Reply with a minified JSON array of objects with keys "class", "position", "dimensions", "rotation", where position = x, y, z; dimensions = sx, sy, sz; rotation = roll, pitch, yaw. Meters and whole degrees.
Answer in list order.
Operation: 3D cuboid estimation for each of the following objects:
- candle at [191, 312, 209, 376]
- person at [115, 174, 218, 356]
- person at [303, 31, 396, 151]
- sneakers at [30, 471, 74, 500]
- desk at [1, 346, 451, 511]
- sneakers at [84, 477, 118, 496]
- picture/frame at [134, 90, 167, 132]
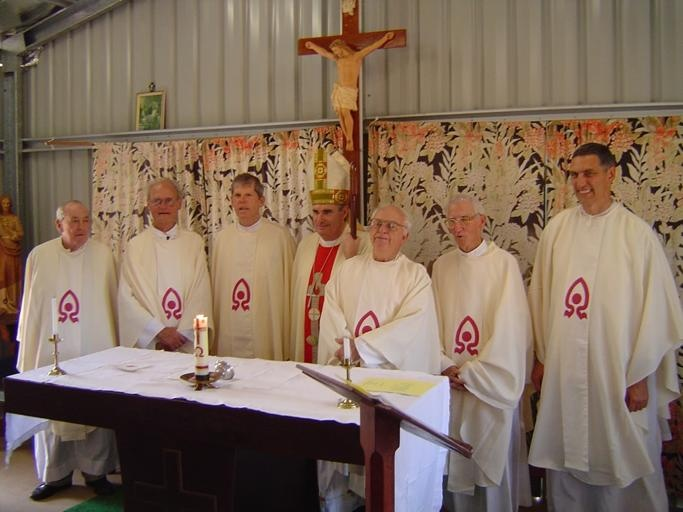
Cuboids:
[{"class":"candle","position":[-0.764,0.493,3.770],"dimensions":[0.071,0.353,0.196],"rotation":[-1,3,-15]},{"class":"person","position":[-1.336,0.062,5.225],"dimensions":[0.684,1.285,0.568],"rotation":[-1,3,-20]},{"class":"person","position":[0.054,-1.247,5.301],"dimensions":[0.662,0.881,0.248],"rotation":[0,3,-4]},{"class":"sneakers","position":[-2.182,1.741,5.218],"dimensions":[0.102,0.128,0.289],"rotation":[3,-3,23]},{"class":"desk","position":[-0.639,1.038,3.955],"dimensions":[2.428,0.789,0.717],"rotation":[1,3,17]},{"class":"sneakers","position":[-1.835,1.727,5.231],"dimensions":[0.229,0.113,0.104],"rotation":[-1,-3,34]},{"class":"picture/frame","position":[-1.808,-1.374,6.568],"dimensions":[0.350,0.509,0.036],"rotation":[2,-2,22]}]
